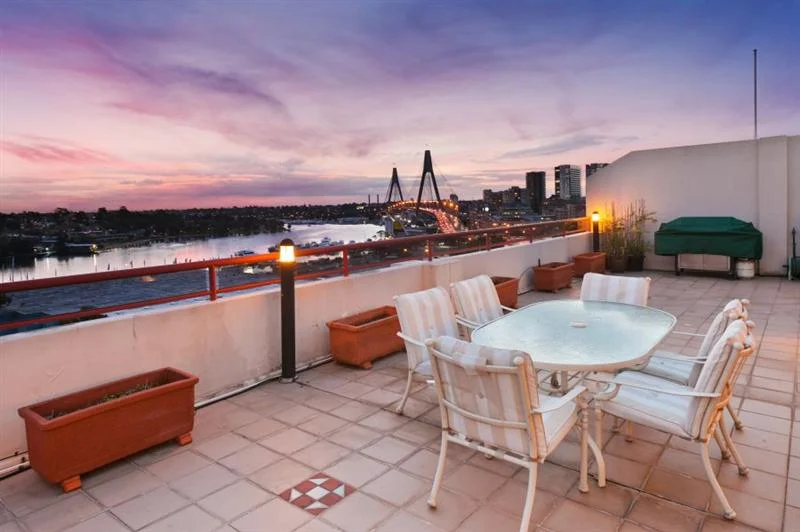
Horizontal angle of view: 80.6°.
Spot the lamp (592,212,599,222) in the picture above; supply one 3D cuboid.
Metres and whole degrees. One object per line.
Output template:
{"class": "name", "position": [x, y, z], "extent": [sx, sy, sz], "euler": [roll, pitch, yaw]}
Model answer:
{"class": "lamp", "position": [4.802, -1.240, 11.590], "extent": [0.223, 0.250, 0.204], "euler": [-1, 4, 15]}

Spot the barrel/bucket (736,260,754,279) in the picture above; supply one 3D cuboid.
{"class": "barrel/bucket", "position": [7.380, 0.066, 10.058], "extent": [0.412, 0.362, 0.368], "euler": [-1, 8, 1]}

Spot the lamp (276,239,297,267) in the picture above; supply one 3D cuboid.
{"class": "lamp", "position": [-1.358, -0.166, 5.612], "extent": [0.188, 0.325, 0.112], "euler": [-7, 10, -14]}

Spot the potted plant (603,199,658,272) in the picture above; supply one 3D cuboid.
{"class": "potted plant", "position": [5.529, -0.762, 11.595], "extent": [1.157, 1.709, 1.146], "euler": [2, 12, 37]}

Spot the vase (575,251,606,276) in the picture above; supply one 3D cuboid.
{"class": "vase", "position": [4.168, -0.055, 10.308], "extent": [0.376, 0.298, 0.669], "euler": [3, 8, 37]}
